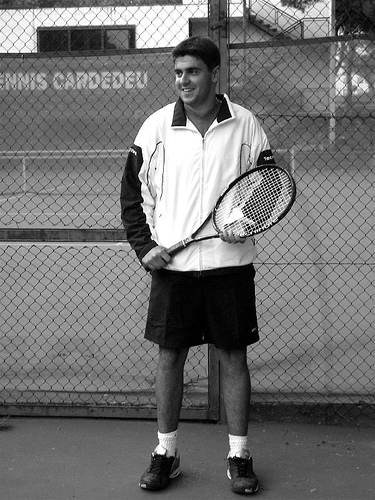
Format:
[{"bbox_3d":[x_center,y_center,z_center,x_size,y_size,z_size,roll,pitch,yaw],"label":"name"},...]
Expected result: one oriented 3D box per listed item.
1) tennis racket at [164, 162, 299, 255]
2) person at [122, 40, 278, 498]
[{"bbox_3d":[0.204,-0.145,3.103,0.688,0.254,0.035,-31,-19,10],"label":"tennis racket"},{"bbox_3d":[0.067,0.086,3.190,0.669,1.938,0.658,-3,15,2],"label":"person"}]
